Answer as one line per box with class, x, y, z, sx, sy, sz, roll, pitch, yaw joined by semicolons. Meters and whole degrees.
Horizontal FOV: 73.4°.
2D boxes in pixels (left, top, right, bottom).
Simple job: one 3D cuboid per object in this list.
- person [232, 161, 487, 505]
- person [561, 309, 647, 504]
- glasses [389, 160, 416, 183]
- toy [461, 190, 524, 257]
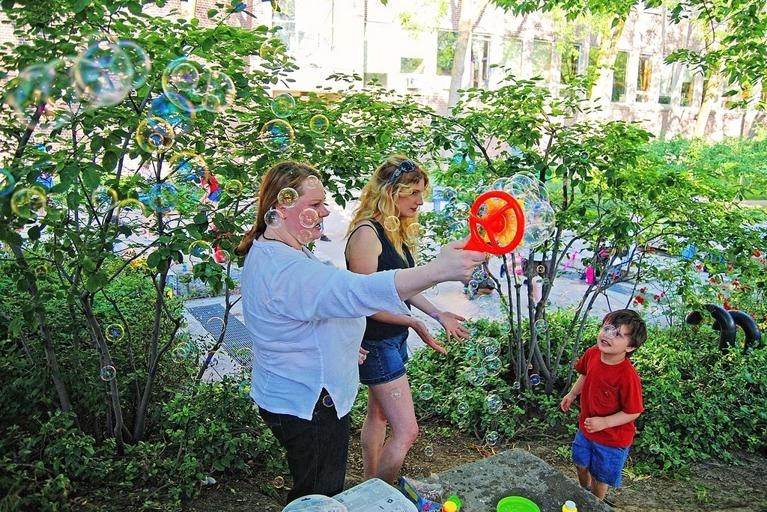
person;-0.298;0.428;2.625;1.175;1.781;0.416;9;12;32
person;1.565;1.068;3.691;0.422;1.398;0.447;2;10;-4
glasses;0.122;-0.531;3.379;0.108;0.187;0.052;48;9;24
toy;0.472;-0.123;2.385;0.103;0.229;0.335;-25;-12;-22
